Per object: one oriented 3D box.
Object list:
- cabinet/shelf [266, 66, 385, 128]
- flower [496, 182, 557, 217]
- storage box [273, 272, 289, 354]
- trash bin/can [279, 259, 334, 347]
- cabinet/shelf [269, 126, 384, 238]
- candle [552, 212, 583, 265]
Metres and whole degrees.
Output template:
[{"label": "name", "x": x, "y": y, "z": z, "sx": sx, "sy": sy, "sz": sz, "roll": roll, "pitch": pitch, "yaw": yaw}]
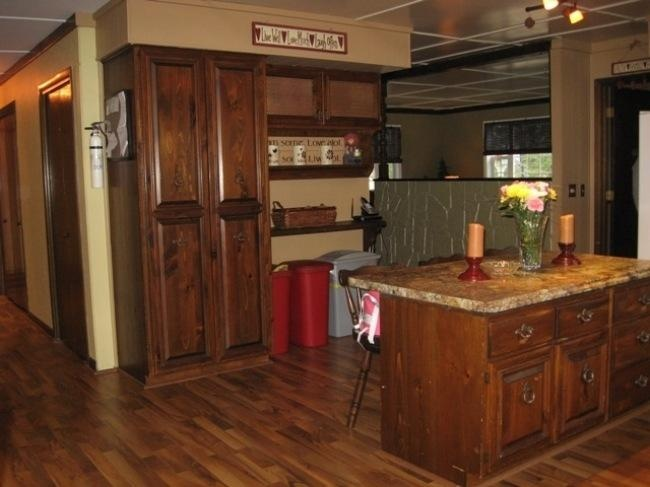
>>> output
[{"label": "cabinet/shelf", "x": -0.154, "y": -1.493, "z": 5.664, "sx": 1.622, "sy": 0.634, "sz": 0.467, "roll": -9, "pitch": 12, "yaw": -35}, {"label": "flower", "x": 1.366, "y": -0.300, "z": 3.576, "sx": 0.298, "sy": 0.232, "sz": 0.350, "roll": 3, "pitch": 10, "yaw": 30}, {"label": "storage box", "x": -0.418, "y": 0.660, "z": 5.162, "sx": 0.093, "sy": 0.803, "sz": 0.298, "roll": 2, "pitch": 10, "yaw": 28}, {"label": "trash bin/can", "x": -0.294, "y": 0.561, "z": 5.496, "sx": 0.534, "sy": 0.844, "sz": 0.480, "roll": -4, "pitch": 14, "yaw": -29}, {"label": "cabinet/shelf", "x": -0.037, "y": -0.680, "z": 5.908, "sx": 1.213, "sy": 1.013, "sz": 0.391, "roll": -4, "pitch": 6, "yaw": -30}, {"label": "candle", "x": 1.711, "y": -0.031, "z": 3.763, "sx": 0.200, "sy": 0.357, "sz": 0.194, "roll": 2, "pitch": 4, "yaw": 38}]
